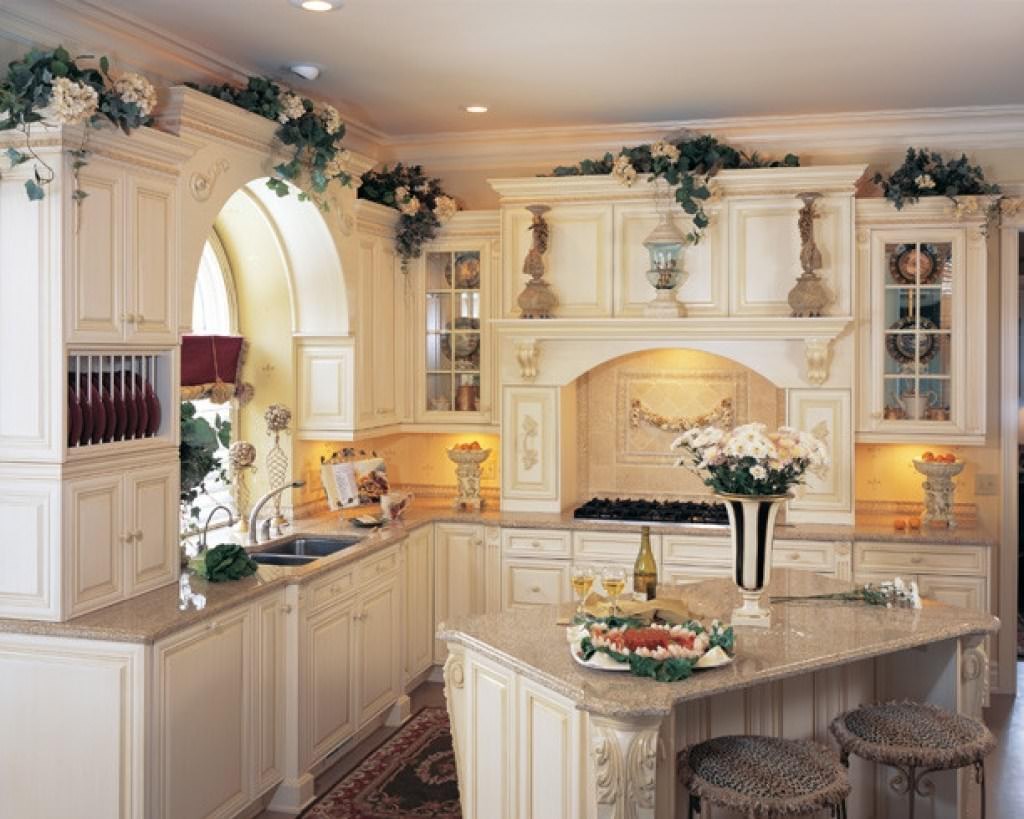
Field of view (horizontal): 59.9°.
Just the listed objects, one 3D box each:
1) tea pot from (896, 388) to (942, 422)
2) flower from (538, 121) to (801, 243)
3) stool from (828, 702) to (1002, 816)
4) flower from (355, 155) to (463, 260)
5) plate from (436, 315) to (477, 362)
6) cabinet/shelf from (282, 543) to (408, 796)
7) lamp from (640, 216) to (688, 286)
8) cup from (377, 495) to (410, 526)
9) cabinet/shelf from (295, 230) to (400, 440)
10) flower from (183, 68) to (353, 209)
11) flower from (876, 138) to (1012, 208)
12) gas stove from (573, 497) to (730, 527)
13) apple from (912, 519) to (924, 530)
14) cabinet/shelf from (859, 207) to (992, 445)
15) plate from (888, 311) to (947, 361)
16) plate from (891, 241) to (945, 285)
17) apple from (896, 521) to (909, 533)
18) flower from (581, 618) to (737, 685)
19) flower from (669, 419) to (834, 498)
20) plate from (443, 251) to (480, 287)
[{"bbox_3d":[2.513,-0.029,5.508,0.244,0.141,0.142,0,0,13],"label":"tea pot"},{"bbox_3d":[1.068,-1.420,5.655,1.483,0.715,0.501,0,7,2],"label":"flower"},{"bbox_3d":[1.462,1.229,3.244,0.549,0.160,0.383,-1,7,-13],"label":"stool"},{"bbox_3d":[-0.719,-1.368,6.130,0.664,0.704,0.372,-2,7,-15],"label":"flower"},{"bbox_3d":[-0.339,-0.505,6.215,0.275,0.299,0.045,2,8,18],"label":"plate"},{"bbox_3d":[-0.870,1.371,4.689,0.533,0.972,1.257,-2,2,13],"label":"cabinet/shelf"},{"bbox_3d":[1.004,-0.978,5.564,0.267,0.468,0.163,-5,9,-33],"label":"lamp"},{"bbox_3d":[-0.704,0.637,5.644,0.203,0.186,0.182,0,-6,2],"label":"cup"},{"bbox_3d":[-0.967,-0.492,5.890,0.377,1.306,0.814,5,9,33],"label":"cabinet/shelf"},{"bbox_3d":[-1.149,-1.467,4.856,0.328,0.613,1.015,5,8,33],"label":"flower"},{"bbox_3d":[2.597,-1.425,5.433,0.616,0.225,0.530,2,-4,10],"label":"flower"},{"bbox_3d":[0.933,0.657,5.814,0.972,0.053,0.615,1,6,13],"label":"gas stove"},{"bbox_3d":[2.497,0.701,5.498,0.070,0.060,0.068,-7,5,-27],"label":"apple"},{"bbox_3d":[2.513,-0.551,5.455,0.767,1.503,0.185,1,8,9],"label":"cabinet/shelf"},{"bbox_3d":[2.495,-0.446,5.506,0.343,0.277,0.104,0,5,10],"label":"plate"},{"bbox_3d":[2.506,-0.911,5.493,0.272,0.244,0.037,0,7,5],"label":"plate"},{"bbox_3d":[2.415,0.717,5.507,0.074,0.057,0.068,-5,5,-16],"label":"apple"},{"bbox_3d":[0.481,0.836,3.155,0.614,0.106,0.391,1,6,13],"label":"flower"},{"bbox_3d":[1.023,0.210,3.610,0.483,0.236,0.481,-1,-4,-19],"label":"flower"},{"bbox_3d":[-0.311,-0.967,6.184,0.274,0.224,0.059,9,8,15],"label":"plate"}]
